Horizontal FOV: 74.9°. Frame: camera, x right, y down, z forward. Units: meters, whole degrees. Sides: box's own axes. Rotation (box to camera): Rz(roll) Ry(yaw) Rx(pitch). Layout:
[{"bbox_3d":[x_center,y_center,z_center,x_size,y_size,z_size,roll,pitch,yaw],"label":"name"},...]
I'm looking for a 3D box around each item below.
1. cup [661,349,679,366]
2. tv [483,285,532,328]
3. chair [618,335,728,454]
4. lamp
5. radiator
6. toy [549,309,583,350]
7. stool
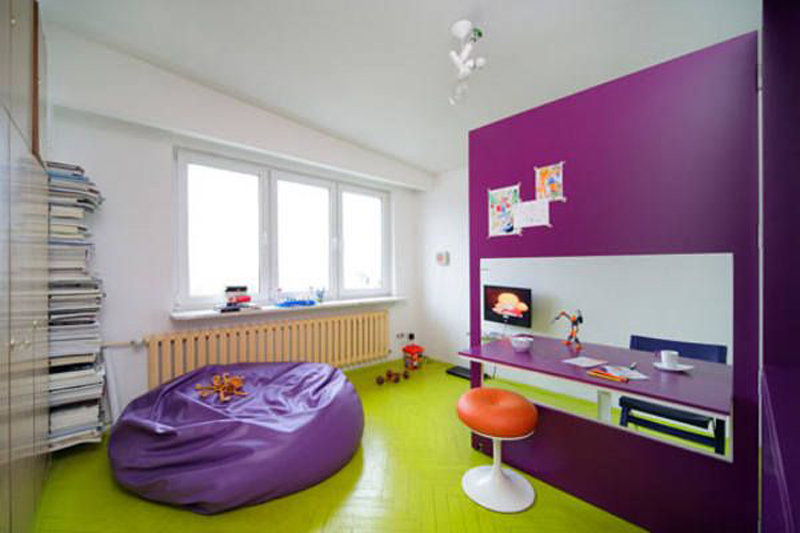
[{"bbox_3d":[1.860,0.636,3.603,0.094,0.090,0.102,0,-7,0],"label":"cup"},{"bbox_3d":[0.883,0.322,4.203,0.339,0.255,0.037,2,1,38],"label":"tv"},{"bbox_3d":[1.915,0.997,3.704,0.660,0.934,0.639,7,1,26],"label":"chair"},{"bbox_3d":[0.535,-1.508,4.028,0.299,0.633,1.052,-2,-1,7],"label":"lamp"},{"bbox_3d":[-1.209,0.821,5.330,2.517,0.642,0.221,-1,-1,-35],"label":"radiator"},{"bbox_3d":[1.263,0.478,3.940,0.097,0.374,0.281,-8,8,-35],"label":"toy"},{"bbox_3d":[0.741,1.355,3.964,0.646,0.724,0.627,-5,7,-38],"label":"stool"}]
